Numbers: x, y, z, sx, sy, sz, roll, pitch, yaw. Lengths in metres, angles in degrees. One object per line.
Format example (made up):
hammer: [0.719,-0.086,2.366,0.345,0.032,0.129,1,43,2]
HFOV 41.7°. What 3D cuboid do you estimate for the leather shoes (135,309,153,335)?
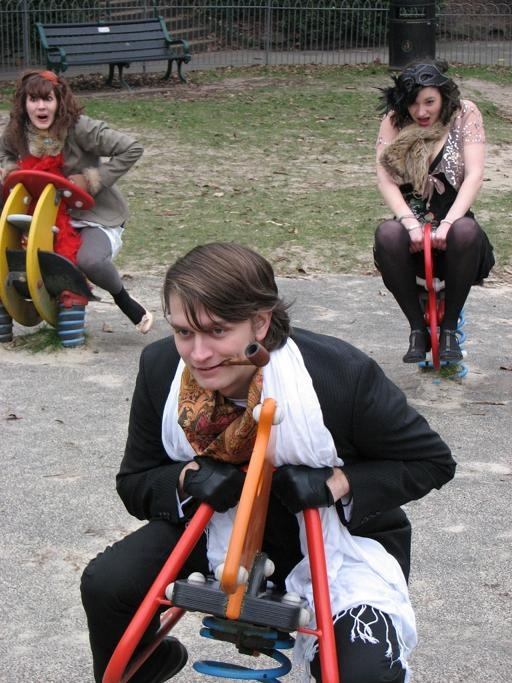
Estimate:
leather shoes: [-0.747,-0.136,4.480,0.097,0.140,0.055,-1,-13,15]

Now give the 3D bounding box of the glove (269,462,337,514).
glove: [0.089,0.266,1.282,0.097,0.040,0.109,1,17,-4]

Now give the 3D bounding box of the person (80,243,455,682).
person: [-0.011,0.255,1.389,0.711,0.909,0.471,3,11,25]

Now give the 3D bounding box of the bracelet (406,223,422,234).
bracelet: [0.864,-0.623,3.671,0.069,0.044,0.068,-1,9,3]
